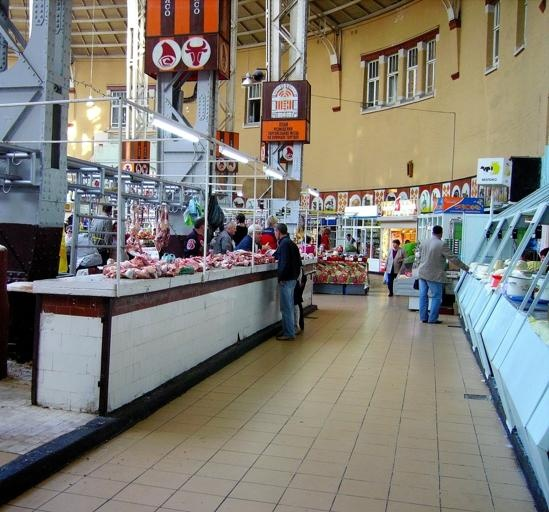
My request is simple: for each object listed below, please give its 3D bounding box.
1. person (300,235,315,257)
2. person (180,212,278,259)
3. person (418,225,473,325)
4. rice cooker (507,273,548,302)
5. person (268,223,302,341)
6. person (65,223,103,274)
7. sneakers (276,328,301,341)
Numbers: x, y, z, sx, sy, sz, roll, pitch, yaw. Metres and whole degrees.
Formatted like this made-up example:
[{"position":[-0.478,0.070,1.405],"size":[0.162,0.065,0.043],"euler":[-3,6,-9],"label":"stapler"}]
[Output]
[{"position":[0.878,-0.258,13.651],"size":[0.478,0.525,0.846],"euler":[-2,-1,1],"label":"person"},{"position":[-0.670,-0.234,7.682],"size":[0.893,0.375,0.713],"euler":[3,32,-10],"label":"person"},{"position":[2.807,0.317,8.851],"size":[0.554,1.731,0.852],"euler":[0,4,-40],"label":"person"},{"position":[1.943,0.235,3.888],"size":[0.303,0.250,0.331],"euler":[2,-1,5],"label":"rice cooker"},{"position":[0.172,0.362,7.195],"size":[0.476,1.274,0.548],"euler":[-9,4,1],"label":"person"},{"position":[-2.674,-0.099,7.211],"size":[0.493,0.421,1.145],"euler":[-6,10,-13],"label":"person"},{"position":[0.190,1.095,7.138],"size":[0.296,0.149,0.125],"euler":[2,2,7],"label":"sneakers"}]
